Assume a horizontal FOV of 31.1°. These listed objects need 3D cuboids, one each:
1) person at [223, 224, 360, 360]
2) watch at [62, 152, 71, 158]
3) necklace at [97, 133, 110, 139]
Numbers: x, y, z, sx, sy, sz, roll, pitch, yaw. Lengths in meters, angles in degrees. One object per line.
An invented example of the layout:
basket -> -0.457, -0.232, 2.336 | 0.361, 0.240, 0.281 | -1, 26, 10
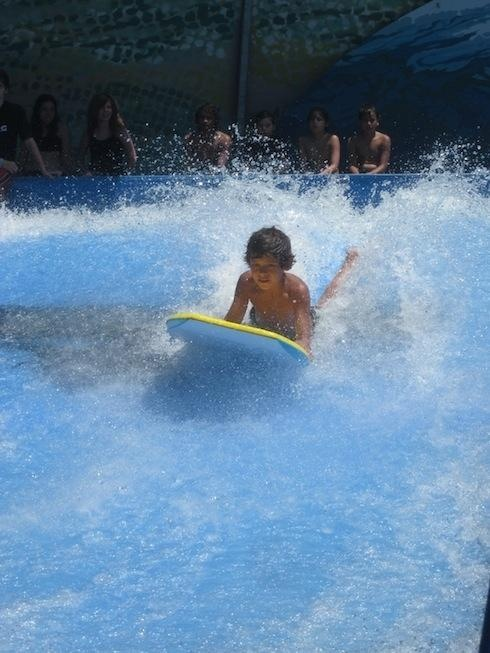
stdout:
person -> 0.234, -0.188, 4.377 | 0.489, 0.484, 1.226 | 4, 7, 19
watch -> -1.150, -1.107, 5.689 | 0.040, 0.036, 0.035 | 20, 38, -23
necklace -> -0.888, -1.190, 5.521 | 0.050, 0.040, 0.009 | -13, 19, 0
